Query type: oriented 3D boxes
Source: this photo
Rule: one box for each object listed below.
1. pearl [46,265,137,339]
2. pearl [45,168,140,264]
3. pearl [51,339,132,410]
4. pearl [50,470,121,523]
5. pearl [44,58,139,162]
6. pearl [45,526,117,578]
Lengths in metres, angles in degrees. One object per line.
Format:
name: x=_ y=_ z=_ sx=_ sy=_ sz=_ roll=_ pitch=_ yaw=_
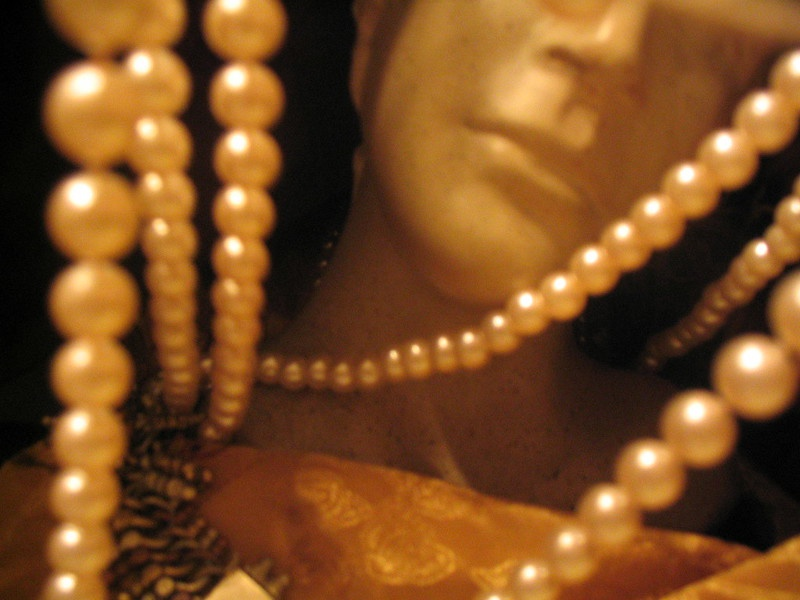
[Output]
pearl: x=-0.209 y=-0.003 z=0.676 sx=0.046 sy=0.048 sz=0.063 roll=0 pitch=94 yaw=-18
pearl: x=-0.210 y=-0.054 z=0.677 sx=0.052 sy=0.029 sz=0.060 roll=14 pitch=89 yaw=-21
pearl: x=-0.210 y=0.046 z=0.675 sx=0.041 sy=0.045 sz=0.058 roll=0 pitch=89 yaw=-20
pearl: x=-0.212 y=0.133 z=0.672 sx=0.041 sy=0.025 sz=0.028 roll=-2 pitch=51 yaw=-6
pearl: x=-0.212 y=-0.125 z=0.673 sx=0.056 sy=0.027 sz=0.067 roll=-10 pitch=97 yaw=-6
pearl: x=-0.215 y=0.164 z=0.666 sx=0.031 sy=0.033 sz=0.029 roll=4 pitch=78 yaw=-17
